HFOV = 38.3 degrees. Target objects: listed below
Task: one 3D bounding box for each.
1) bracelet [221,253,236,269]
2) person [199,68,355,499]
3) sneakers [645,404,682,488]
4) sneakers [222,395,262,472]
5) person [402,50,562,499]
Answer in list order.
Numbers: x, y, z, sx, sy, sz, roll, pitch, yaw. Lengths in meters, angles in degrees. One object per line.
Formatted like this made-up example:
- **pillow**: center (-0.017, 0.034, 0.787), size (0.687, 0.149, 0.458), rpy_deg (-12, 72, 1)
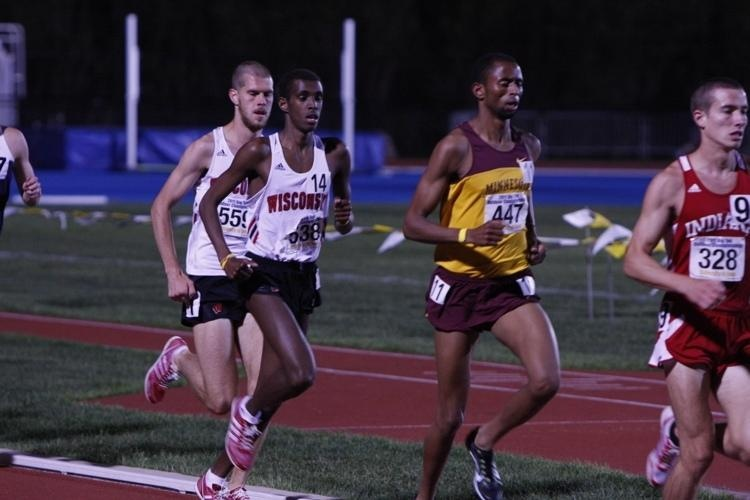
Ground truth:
- **bracelet**: center (-0.952, 0.071, 6.983), size (0.056, 0.106, 0.100), rpy_deg (50, 23, 11)
- **person**: center (-0.647, 0.120, 7.017), size (0.977, 2.551, 0.764), rpy_deg (0, 8, -6)
- **sneakers**: center (1.895, 1.338, 7.250), size (0.190, 0.522, 0.232), rpy_deg (5, 25, -8)
- **sneakers**: center (-0.824, 1.157, 6.923), size (0.187, 0.510, 0.224), rpy_deg (7, -14, -40)
- **person**: center (0.702, 0.229, 7.091), size (1.005, 2.982, 0.676), rpy_deg (2, 8, 2)
